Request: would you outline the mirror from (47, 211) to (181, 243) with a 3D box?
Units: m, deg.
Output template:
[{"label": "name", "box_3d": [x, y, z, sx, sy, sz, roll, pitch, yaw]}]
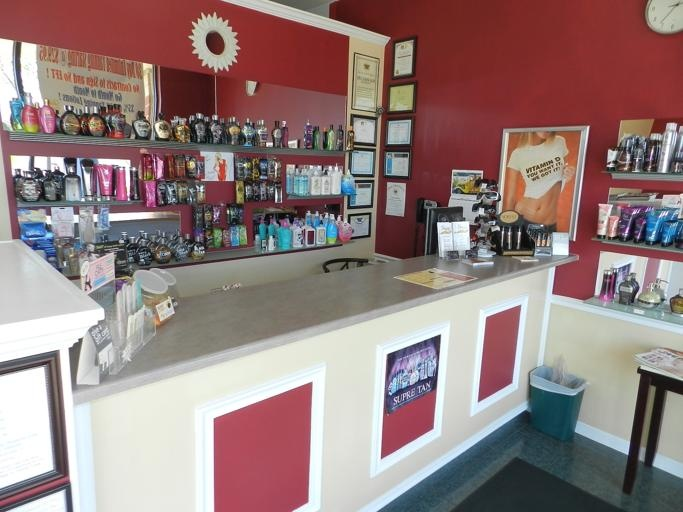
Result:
[{"label": "mirror", "box_3d": [-1.565, -0.245, 3.830, 0.662, 0.234, 0.049, -13, 16, -43]}]

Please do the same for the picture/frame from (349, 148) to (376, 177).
[{"label": "picture/frame", "box_3d": [0.211, -0.994, 5.154, 0.316, 0.282, 0.022, -11, 15, -43]}]

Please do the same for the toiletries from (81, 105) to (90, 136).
[{"label": "toiletries", "box_3d": [-1.785, -0.950, 3.436, 0.066, 0.195, 0.077, -5, 12, -16]}]

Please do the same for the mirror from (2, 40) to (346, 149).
[{"label": "mirror", "box_3d": [-1.178, -1.181, 3.915, 2.560, 0.773, 0.289, -10, 14, -34]}]

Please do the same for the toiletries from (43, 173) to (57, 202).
[{"label": "toiletries", "box_3d": [-2.015, -0.477, 3.401, 0.065, 0.196, 0.071, 2, 12, 17]}]

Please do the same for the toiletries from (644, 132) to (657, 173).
[{"label": "toiletries", "box_3d": [2.157, -0.716, 3.395, 0.100, 0.253, 0.089, 2, 12, 16]}]

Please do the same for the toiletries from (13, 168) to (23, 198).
[{"label": "toiletries", "box_3d": [-2.178, -0.486, 3.313, 0.053, 0.196, 0.043, -9, 14, -34]}]

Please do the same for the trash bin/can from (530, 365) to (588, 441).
[{"label": "trash bin/can", "box_3d": [1.678, 1.161, 3.804, 0.293, 0.450, 0.423, -13, 16, -39]}]

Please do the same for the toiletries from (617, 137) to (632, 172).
[{"label": "toiletries", "box_3d": [2.021, -0.728, 3.498, 0.092, 0.241, 0.114, 5, 13, 31]}]

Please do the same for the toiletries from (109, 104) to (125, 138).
[{"label": "toiletries", "box_3d": [-1.620, -0.975, 3.541, 0.104, 0.251, 0.115, -7, 13, -27]}]

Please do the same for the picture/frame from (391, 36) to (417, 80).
[{"label": "picture/frame", "box_3d": [0.638, -2.004, 4.911, 0.045, 0.475, 0.384, -8, 16, -39]}]

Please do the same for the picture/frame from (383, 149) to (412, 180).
[{"label": "picture/frame", "box_3d": [0.598, -0.962, 5.123, 0.030, 0.279, 0.304, -5, 12, -36]}]

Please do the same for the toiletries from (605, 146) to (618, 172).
[{"label": "toiletries", "box_3d": [1.980, -0.709, 3.590, 0.072, 0.168, 0.179, 3, 13, 21]}]

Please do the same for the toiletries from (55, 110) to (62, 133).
[{"label": "toiletries", "box_3d": [-1.934, -0.926, 3.358, 0.039, 0.149, 0.041, -6, 12, -22]}]

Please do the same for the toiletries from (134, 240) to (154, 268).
[{"label": "toiletries", "box_3d": [-1.509, -0.008, 3.737, 0.083, 0.249, 0.166, 8, 12, 44]}]

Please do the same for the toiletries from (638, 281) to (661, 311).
[{"label": "toiletries", "box_3d": [2.239, 0.288, 3.586, 0.154, 0.231, 0.162, 5, 9, 26]}]

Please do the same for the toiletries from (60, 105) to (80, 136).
[{"label": "toiletries", "box_3d": [-1.865, -0.925, 3.381, 0.129, 0.145, 0.051, -8, 13, -29]}]

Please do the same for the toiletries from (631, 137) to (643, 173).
[{"label": "toiletries", "box_3d": [2.082, -0.711, 3.448, 0.079, 0.243, 0.109, 5, 13, 30]}]

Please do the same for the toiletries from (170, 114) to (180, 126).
[{"label": "toiletries", "box_3d": [-1.293, -1.052, 3.821, 0.064, 0.104, 0.072, -6, 19, -27]}]

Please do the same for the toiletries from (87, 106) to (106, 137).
[{"label": "toiletries", "box_3d": [-1.721, -0.947, 3.458, 0.093, 0.207, 0.108, -2, 11, 0]}]

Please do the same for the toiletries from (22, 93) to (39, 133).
[{"label": "toiletries", "box_3d": [-2.058, -0.912, 3.251, 0.104, 0.185, 0.066, -9, 13, -32]}]

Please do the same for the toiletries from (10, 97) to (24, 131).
[{"label": "toiletries", "box_3d": [-2.136, -0.943, 3.234, 0.089, 0.207, 0.024, -9, 13, -33]}]

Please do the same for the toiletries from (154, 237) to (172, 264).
[{"label": "toiletries", "box_3d": [-1.417, -0.037, 3.880, 0.171, 0.257, 0.092, -6, 8, -41]}]

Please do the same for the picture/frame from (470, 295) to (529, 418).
[{"label": "picture/frame", "box_3d": [1.119, 0.700, 3.518, 0.065, 1.039, 0.840, 10, 14, 42]}]

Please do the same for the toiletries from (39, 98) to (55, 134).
[{"label": "toiletries", "box_3d": [-1.981, -0.946, 3.307, 0.079, 0.224, 0.085, 6, 14, 33]}]

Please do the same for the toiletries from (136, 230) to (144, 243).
[{"label": "toiletries", "box_3d": [-1.560, -0.143, 3.812, 0.019, 0.082, 0.051, 3, -1, -40]}]

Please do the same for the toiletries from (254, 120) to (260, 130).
[{"label": "toiletries", "box_3d": [-0.726, -1.137, 4.280, 0.061, 0.090, 0.062, -8, 17, -23]}]

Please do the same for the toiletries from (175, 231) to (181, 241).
[{"label": "toiletries", "box_3d": [-1.336, -0.164, 4.023, 0.057, 0.088, 0.058, 1, 6, -12]}]

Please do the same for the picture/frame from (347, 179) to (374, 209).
[{"label": "picture/frame", "box_3d": [0.192, -0.660, 5.177, 0.023, 0.270, 0.300, 7, 9, 41]}]

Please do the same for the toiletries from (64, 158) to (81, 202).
[{"label": "toiletries", "box_3d": [-1.895, -0.546, 3.457, 0.115, 0.345, 0.033, -4, 34, -27]}]

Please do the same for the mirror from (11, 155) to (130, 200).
[{"label": "mirror", "box_3d": [-1.901, -0.532, 3.547, 0.782, 0.381, 0.166, -3, -13, -26]}]

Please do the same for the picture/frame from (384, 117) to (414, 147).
[{"label": "picture/frame", "box_3d": [0.608, -1.288, 5.063, 0.022, 0.268, 0.301, -5, 14, -37]}]

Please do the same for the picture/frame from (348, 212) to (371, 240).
[{"label": "picture/frame", "box_3d": [0.182, -0.330, 5.250, 0.261, 0.234, 0.018, -11, 16, -42]}]

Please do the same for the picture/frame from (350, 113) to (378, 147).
[{"label": "picture/frame", "box_3d": [0.243, -1.306, 5.133, 0.361, 0.321, 0.025, -6, 0, -45]}]
